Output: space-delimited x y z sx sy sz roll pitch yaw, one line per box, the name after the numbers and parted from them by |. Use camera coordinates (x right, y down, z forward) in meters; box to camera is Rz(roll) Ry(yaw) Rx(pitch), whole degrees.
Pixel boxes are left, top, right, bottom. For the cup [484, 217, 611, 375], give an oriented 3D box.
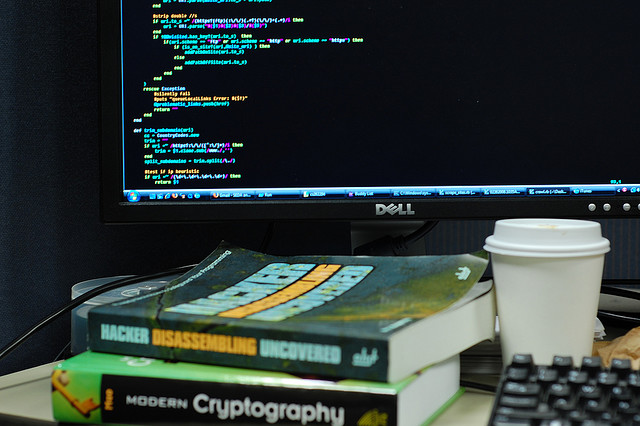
0.280 0.097 0.769 0.178 0.181 0.178 -2 -2 0 | cup
